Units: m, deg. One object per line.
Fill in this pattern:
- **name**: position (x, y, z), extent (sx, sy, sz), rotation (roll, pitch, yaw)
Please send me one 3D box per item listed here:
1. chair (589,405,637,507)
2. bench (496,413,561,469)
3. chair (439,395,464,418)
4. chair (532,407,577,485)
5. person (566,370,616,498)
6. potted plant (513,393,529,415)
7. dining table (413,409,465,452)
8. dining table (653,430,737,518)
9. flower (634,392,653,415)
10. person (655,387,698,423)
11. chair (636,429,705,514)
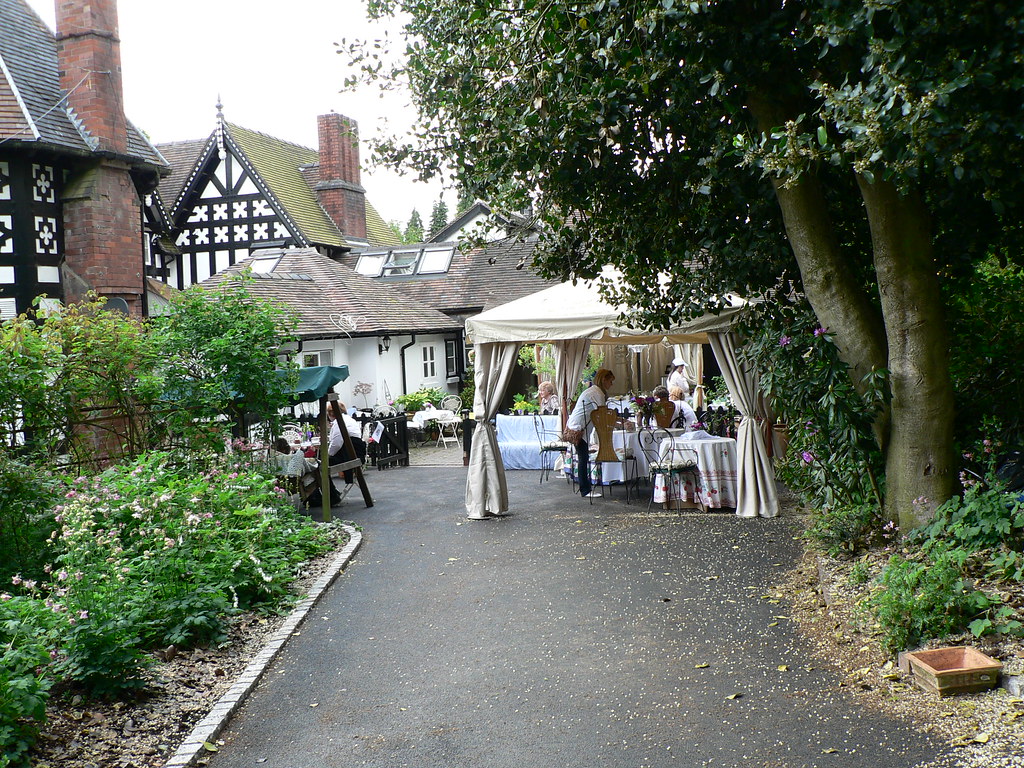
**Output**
- **chair**: position (1.681, 1.119, 13.810), extent (0.714, 1.539, 0.895), rotation (-1, 3, 17)
- **bench**: position (0.202, 1.234, 18.176), extent (1.128, 0.820, 1.204), rotation (0, -3, 5)
- **chair**: position (-2.036, 0.782, 27.887), extent (0.646, 1.100, 0.785), rotation (0, -6, 0)
- **chair**: position (0.929, 1.251, 16.725), extent (0.860, 1.387, 0.836), rotation (-3, -2, 27)
- **person**: position (1.320, 0.860, 13.959), extent (0.732, 2.163, 0.982), rotation (-1, 3, 21)
- **potted plant**: position (0.168, 0.492, 20.273), extent (0.445, 0.515, 0.451), rotation (3, 4, 11)
- **dining table**: position (-2.345, 1.253, 25.404), extent (1.060, 1.054, 1.519), rotation (2, -4, -12)
- **dining table**: position (2.869, 1.443, 12.919), extent (1.024, 0.851, 1.123), rotation (0, -5, -4)
- **flower**: position (2.330, 0.328, 14.537), extent (0.343, 0.403, 0.360), rotation (4, 5, 40)
- **person**: position (2.899, 0.399, 14.704), extent (0.662, 0.707, 0.973), rotation (-2, 2, 9)
- **chair**: position (2.389, 1.242, 12.810), extent (0.750, 1.120, 0.777), rotation (-5, 9, -6)
